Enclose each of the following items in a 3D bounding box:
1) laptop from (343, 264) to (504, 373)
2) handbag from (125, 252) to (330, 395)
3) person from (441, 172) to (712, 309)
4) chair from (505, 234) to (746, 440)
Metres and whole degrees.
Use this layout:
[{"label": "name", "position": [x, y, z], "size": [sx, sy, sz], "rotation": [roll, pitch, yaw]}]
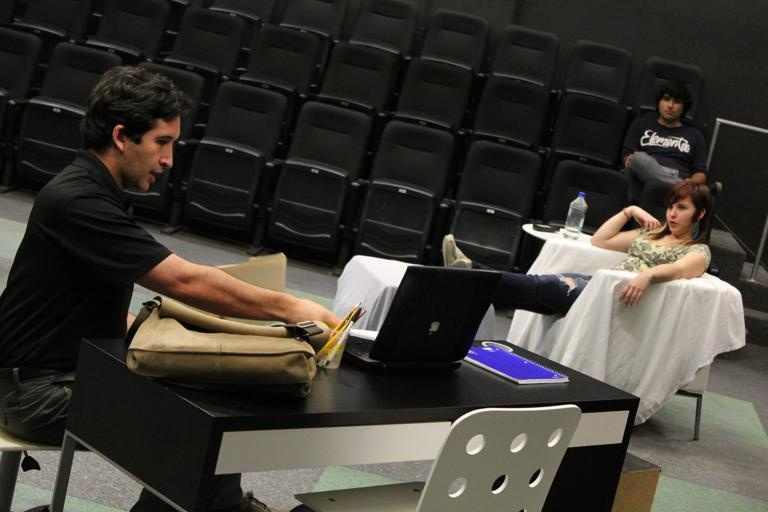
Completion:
[{"label": "laptop", "position": [0.124, 0.205, 1.960], "size": [0.461, 0.410, 0.379], "rotation": [3, 14, -34]}, {"label": "handbag", "position": [-0.427, 0.247, 1.520], "size": [0.407, 0.161, 0.428], "rotation": [6, 16, -10]}, {"label": "person", "position": [1.393, -0.025, 3.806], "size": [1.629, 1.022, 1.036], "rotation": [1, 9, -3]}, {"label": "chair", "position": [1.719, 0.456, 3.770], "size": [1.386, 1.005, 1.431], "rotation": [31, 17, 11]}]
